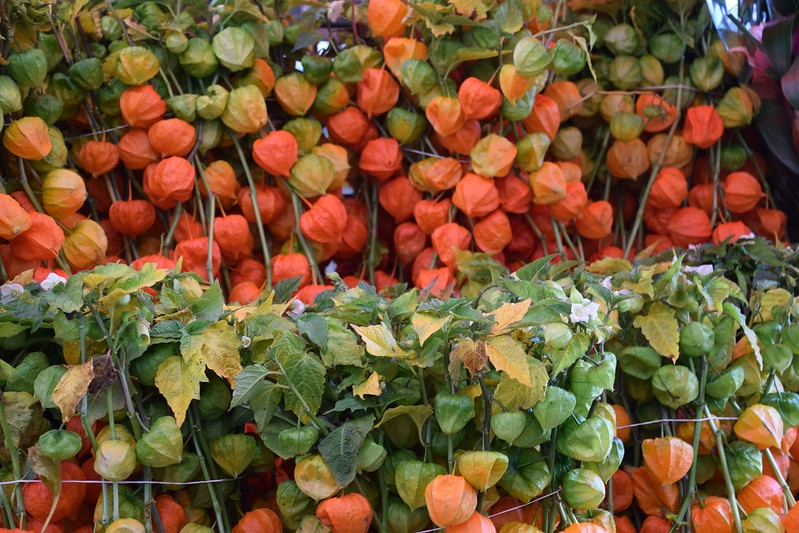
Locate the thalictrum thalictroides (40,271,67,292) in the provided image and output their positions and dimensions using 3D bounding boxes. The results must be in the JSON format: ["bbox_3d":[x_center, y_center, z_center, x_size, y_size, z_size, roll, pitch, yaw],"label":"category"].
[{"bbox_3d":[-0.688,0.030,1.417,0.030,0.010,0.030,-34,58,-18],"label":"thalictrum thalictroides"}]

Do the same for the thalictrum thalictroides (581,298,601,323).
[{"bbox_3d":[0.365,0.084,1.355,0.015,0.037,0.039,1,46,41],"label":"thalictrum thalictroides"}]
